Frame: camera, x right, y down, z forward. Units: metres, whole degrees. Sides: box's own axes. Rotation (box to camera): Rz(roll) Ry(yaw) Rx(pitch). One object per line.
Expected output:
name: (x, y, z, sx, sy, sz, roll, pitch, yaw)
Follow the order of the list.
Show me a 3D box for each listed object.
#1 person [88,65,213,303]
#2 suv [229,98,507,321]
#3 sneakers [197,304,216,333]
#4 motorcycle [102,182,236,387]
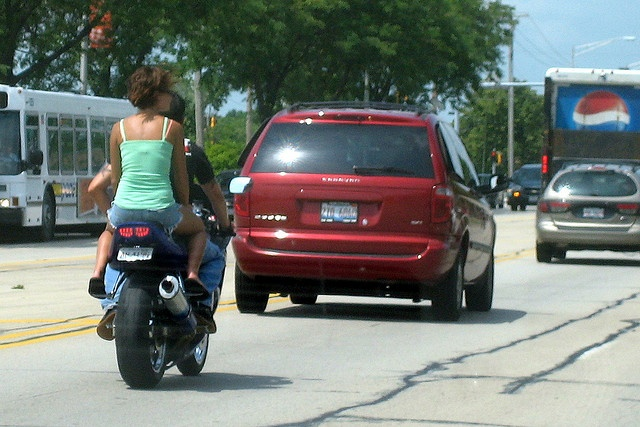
person: (-1.392, -0.247, 6.837, 1.018, 1.835, 0.941, 1, -5, -2)
suv: (0.405, -0.109, 9.838, 2.180, 1.652, 3.350, 0, 2, 16)
sneakers: (-0.929, 0.849, 6.771, 0.198, 0.209, 0.077, 3, 21, 10)
motorcycle: (-1.256, 0.733, 6.697, 0.631, 1.373, 0.998, 0, 3, 22)
